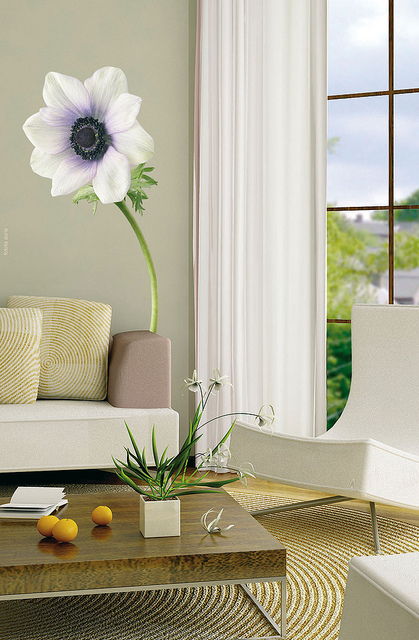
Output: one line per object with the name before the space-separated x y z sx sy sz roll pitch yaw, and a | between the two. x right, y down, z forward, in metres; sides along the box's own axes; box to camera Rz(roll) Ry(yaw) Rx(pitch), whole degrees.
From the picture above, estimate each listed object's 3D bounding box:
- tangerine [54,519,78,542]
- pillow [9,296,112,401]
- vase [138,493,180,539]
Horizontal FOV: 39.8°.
tangerine | -0.304 0.448 1.226 0.045 0.046 0.053 -18 -4 -9
pillow | -0.671 0.142 2.949 0.485 0.504 0.182 1 -16 -5
vase | -0.110 0.426 1.282 0.085 0.082 0.081 1 -4 -11
